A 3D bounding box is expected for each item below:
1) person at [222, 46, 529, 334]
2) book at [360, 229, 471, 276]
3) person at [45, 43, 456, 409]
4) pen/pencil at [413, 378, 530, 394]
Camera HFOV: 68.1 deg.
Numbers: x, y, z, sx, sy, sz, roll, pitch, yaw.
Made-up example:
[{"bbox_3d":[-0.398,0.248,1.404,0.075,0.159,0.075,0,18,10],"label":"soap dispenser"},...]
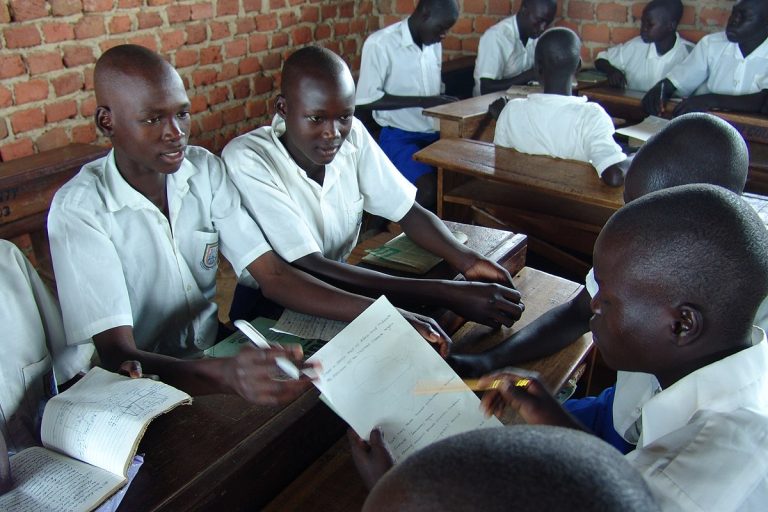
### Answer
[{"bbox_3d":[-0.063,-0.189,1.861,1.052,0.855,0.647,14,30,25],"label":"person"},{"bbox_3d":[0.066,0.001,1.857,0.199,0.052,0.202,14,35,25],"label":"book"},{"bbox_3d":[-0.481,-0.061,1.749,1.114,0.907,0.820,28,33,13],"label":"person"},{"bbox_3d":[0.195,0.290,1.274,0.208,0.028,0.029,3,32,-16],"label":"pen/pencil"}]
